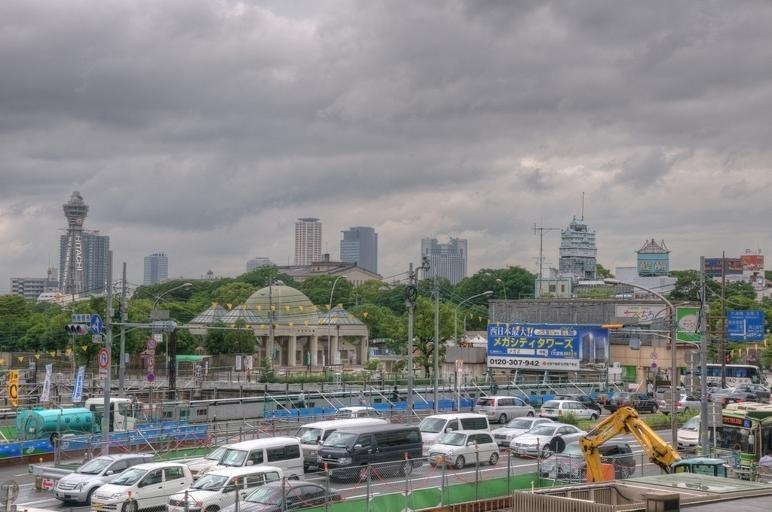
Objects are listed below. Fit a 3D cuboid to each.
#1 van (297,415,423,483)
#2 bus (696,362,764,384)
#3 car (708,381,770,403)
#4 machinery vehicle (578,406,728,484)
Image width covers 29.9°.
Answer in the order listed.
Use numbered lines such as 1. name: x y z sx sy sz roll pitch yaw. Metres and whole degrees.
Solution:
1. van: -1.288 13.355 98.762 4.258 2.781 6.328 -7 -11 44
2. bus: 32.842 11.217 136.594 5.116 2.197 5.982 -5 -7 12
3. car: 30.681 12.007 126.008 4.915 1.223 2.536 -3 2 -19
4. machinery vehicle: 16.454 12.007 92.793 8.033 4.491 1.124 -4 -7 6
